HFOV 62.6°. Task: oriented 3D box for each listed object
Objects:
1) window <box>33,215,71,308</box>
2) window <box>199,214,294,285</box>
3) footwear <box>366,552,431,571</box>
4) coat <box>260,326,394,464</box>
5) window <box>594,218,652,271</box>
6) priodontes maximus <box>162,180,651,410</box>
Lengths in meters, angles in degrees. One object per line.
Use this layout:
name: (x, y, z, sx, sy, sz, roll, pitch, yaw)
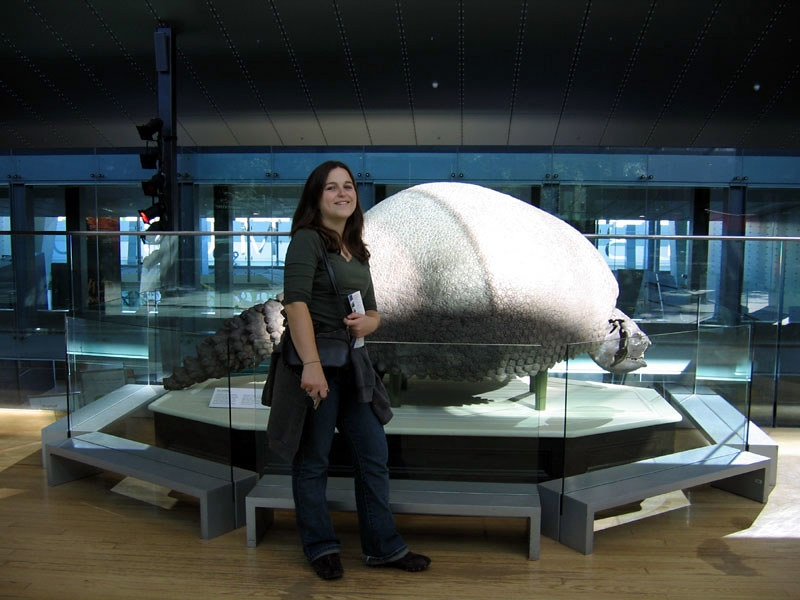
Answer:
window: (-3.329, -0.410, 6.309, 0.305, 0.923, 2.410, -4, 5, -28)
window: (-1.159, -0.340, 4.976, 0.813, 0.482, 0.014, 3, 8, 24)
footwear: (0.013, 1.317, 3.380, 0.344, 0.120, 0.115, -2, -2, 4)
coat: (-0.352, 0.489, 3.313, 0.749, 0.591, 0.453, -15, 15, -29)
window: (1.758, -0.441, 5.205, 0.321, 0.275, 0.549, -17, 13, -4)
priodontes maximus: (0.106, -0.088, 3.976, 2.656, 0.918, 1.332, 0, 12, -3)
